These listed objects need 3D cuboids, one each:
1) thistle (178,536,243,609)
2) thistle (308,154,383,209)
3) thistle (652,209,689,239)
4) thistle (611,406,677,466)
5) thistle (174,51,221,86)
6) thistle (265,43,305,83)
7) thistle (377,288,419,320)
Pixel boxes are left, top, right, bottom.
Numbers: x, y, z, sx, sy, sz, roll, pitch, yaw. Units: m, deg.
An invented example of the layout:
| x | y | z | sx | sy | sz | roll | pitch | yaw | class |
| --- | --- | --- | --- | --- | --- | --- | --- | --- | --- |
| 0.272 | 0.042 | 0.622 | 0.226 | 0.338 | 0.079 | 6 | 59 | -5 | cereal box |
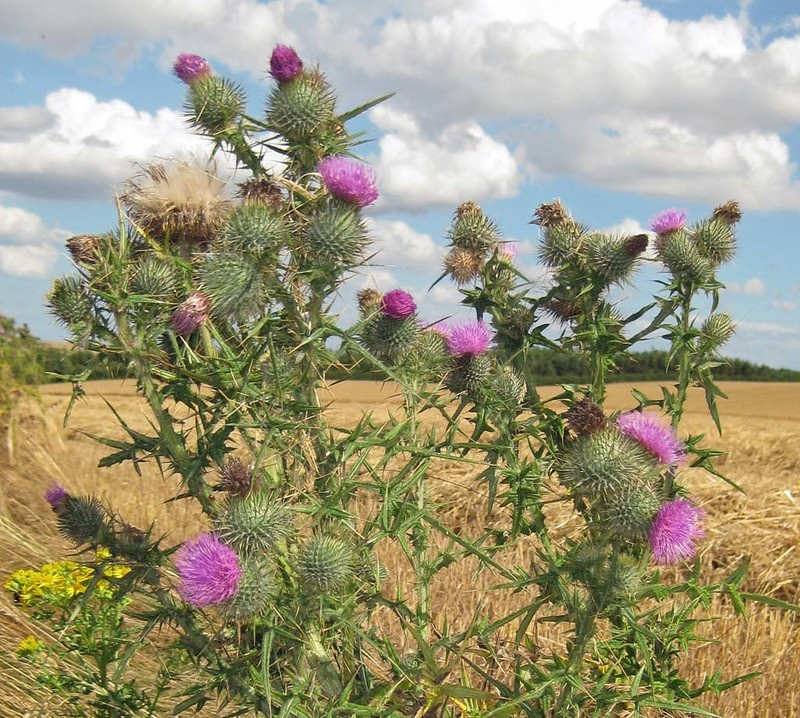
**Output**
| x | y | z | sx | sy | sz | roll | pitch | yaw | class |
| --- | --- | --- | --- | --- | --- | --- | --- | --- | --- |
| -0.921 | 1.008 | 4.902 | 0.367 | 0.314 | 0.195 | 11 | 9 | 23 | thistle |
| -0.281 | -0.883 | 5.206 | 0.314 | 0.241 | 0.172 | 9 | 9 | 6 | thistle |
| 1.614 | -0.802 | 6.216 | 0.185 | 0.160 | 0.320 | 9 | 9 | 10 | thistle |
| 1.272 | 0.409 | 5.278 | 0.367 | 0.213 | 0.320 | 11 | 9 | 20 | thistle |
| -1.133 | -1.562 | 5.650 | 0.195 | 0.170 | 0.274 | 6 | 9 | -15 | thistle |
| -0.604 | -1.539 | 5.476 | 0.171 | 0.196 | 0.105 | 6 | 9 | -9 | thistle |
| -0.017 | -0.269 | 5.307 | 0.169 | 0.141 | 0.085 | 7 | 9 | -5 | thistle |
